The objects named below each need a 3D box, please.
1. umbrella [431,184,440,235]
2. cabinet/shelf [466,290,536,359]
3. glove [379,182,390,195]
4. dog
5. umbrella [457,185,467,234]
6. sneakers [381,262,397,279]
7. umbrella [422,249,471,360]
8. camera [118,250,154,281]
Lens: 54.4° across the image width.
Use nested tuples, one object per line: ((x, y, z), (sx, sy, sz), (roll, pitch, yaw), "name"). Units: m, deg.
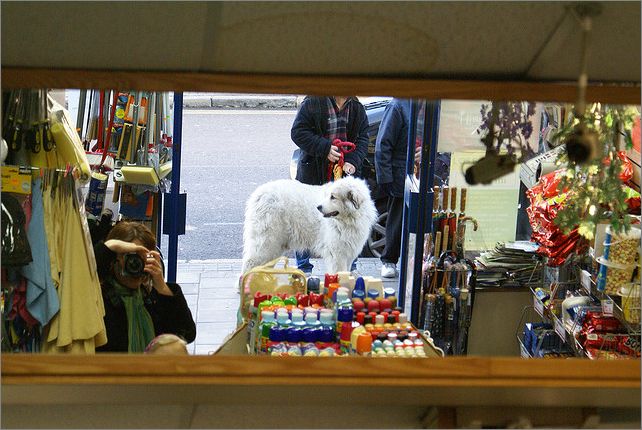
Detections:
((0.865, -0.029, 4.674), (0.048, 0.379, 0.093), (4, 5, 19), "umbrella")
((1.337, 0.783, 4.640), (0.544, 0.532, 0.187), (-1, 9, -2), "cabinet/shelf")
((0.600, -0.246, 5.736), (0.112, 0.112, 0.100), (4, -1, -10), "glove")
((-0.079, -0.003, 5.591), (1.275, 0.968, 0.707), (7, 29, 13), "dog")
((1.054, -0.047, 4.644), (0.062, 0.318, 0.094), (3, 5, 9), "umbrella")
((0.673, 0.548, 6.072), (0.077, 0.096, 0.220), (2, 1, -2), "sneakers")
((0.958, 0.658, 4.632), (0.387, 0.788, 0.214), (1, 5, -8), "umbrella")
((-1.020, 0.274, 3.376), (0.123, 0.129, 0.121), (2, 2, -9), "camera")
